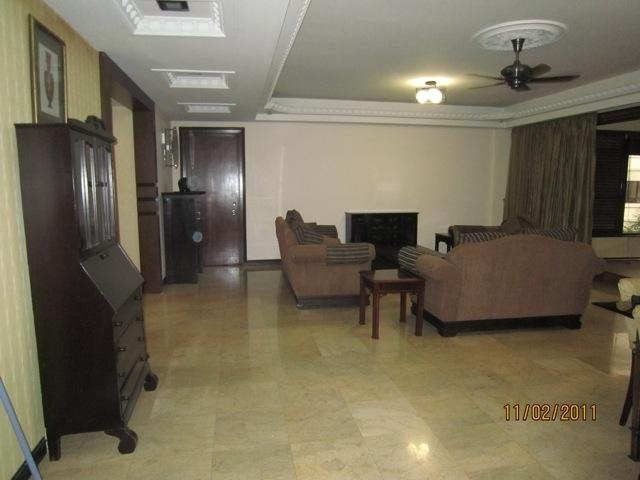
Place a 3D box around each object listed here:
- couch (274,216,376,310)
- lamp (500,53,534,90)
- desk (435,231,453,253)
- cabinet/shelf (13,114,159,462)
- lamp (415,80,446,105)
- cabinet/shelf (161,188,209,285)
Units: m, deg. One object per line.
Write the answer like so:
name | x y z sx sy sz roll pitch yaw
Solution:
couch | -0.075 0.166 6.935 1.061 1.146 2.257 -1 9 -10
lamp | 2.171 -1.862 5.051 0.309 0.371 0.387 5 14 24
desk | 2.400 0.094 8.973 0.397 0.428 0.339 6 14 25
cabinet/shelf | -1.665 0.328 3.259 0.628 2.281 0.789 -5 14 -17
lamp | 1.686 -2.269 7.048 0.431 0.320 0.638 2 13 12
cabinet/shelf | -2.171 -0.040 7.253 0.608 1.373 1.322 -2 13 -12
